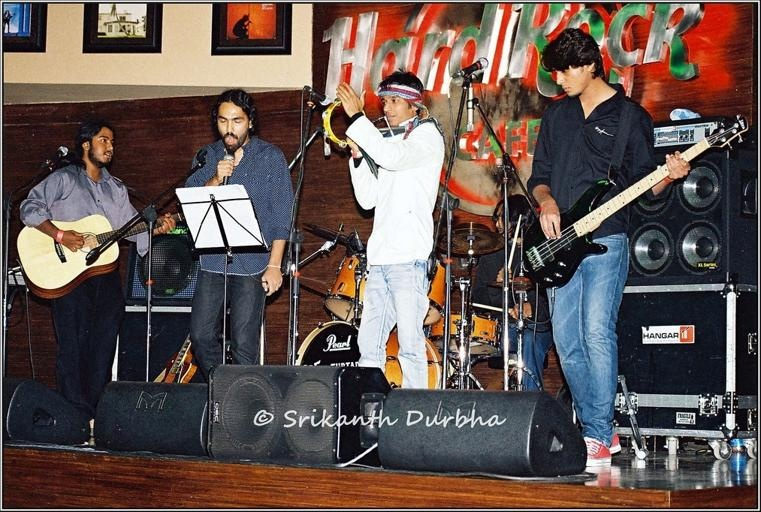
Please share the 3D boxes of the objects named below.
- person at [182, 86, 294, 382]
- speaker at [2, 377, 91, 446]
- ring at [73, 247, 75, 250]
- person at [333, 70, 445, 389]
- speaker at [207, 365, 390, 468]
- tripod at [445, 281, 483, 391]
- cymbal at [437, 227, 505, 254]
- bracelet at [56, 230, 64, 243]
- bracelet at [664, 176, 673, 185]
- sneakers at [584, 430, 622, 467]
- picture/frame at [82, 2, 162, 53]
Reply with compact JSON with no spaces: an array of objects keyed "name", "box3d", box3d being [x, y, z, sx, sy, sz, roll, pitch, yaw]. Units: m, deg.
[{"name":"person","box3d":[-0.934,-0.175,4.846,0.694,1.921,0.548,2,-5,-8]},{"name":"speaker","box3d":[-2.139,1.018,4.720,0.531,0.434,0.295,4,-6,-25]},{"name":"ring","box3d":[-2.288,-0.057,5.488,0.014,0.010,0.003,20,0,5]},{"name":"person","box3d":[0.065,-0.198,4.543,0.625,1.997,0.575,1,-5,5]},{"name":"speaker","box3d":[-0.455,0.764,4.165,0.837,0.512,0.623,-6,-13,28]},{"name":"tripod","box3d":[0.686,0.619,5.807,0.247,0.895,0.671,1,-5,6]},{"name":"cymbal","box3d":[0.742,-0.095,5.835,0.317,0.071,0.307,-2,-29,3]},{"name":"bracelet","box3d":[-2.395,-0.152,5.495,0.073,0.086,0.018,0,-6,21]},{"name":"bracelet","box3d":[1.715,-0.448,4.318,0.038,0.039,0.090,-3,-6,38]},{"name":"sneakers","box3d":[1.293,1.153,4.303,0.177,0.181,0.490,-9,-18,31]},{"name":"picture/frame","box3d":[-2.538,-2.289,7.310,0.570,0.533,0.038,0,2,2]}]
